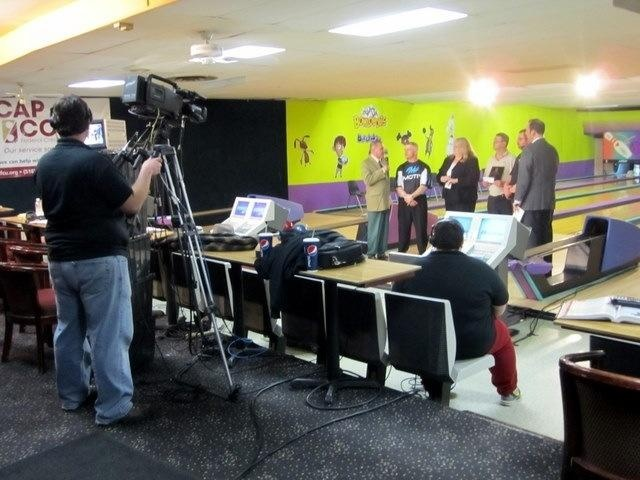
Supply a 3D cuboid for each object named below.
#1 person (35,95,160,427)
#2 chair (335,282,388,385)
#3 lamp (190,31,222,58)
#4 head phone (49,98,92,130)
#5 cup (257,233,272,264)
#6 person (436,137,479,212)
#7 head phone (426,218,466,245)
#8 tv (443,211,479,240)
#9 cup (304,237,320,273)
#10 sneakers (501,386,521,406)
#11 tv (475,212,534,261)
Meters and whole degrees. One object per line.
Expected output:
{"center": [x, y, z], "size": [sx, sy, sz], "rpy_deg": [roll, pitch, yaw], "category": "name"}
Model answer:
{"center": [-1.345, 0.134, 2.871], "size": [0.660, 1.938, 0.404], "rpy_deg": [4, 13, 20], "category": "person"}
{"center": [0.289, 0.673, 3.284], "size": [0.347, 0.742, 0.235], "rpy_deg": [1, 12, 9], "category": "chair"}
{"center": [-0.876, -1.478, 3.649], "size": [0.171, 0.179, 0.178], "rpy_deg": [-1, 7, -5], "category": "lamp"}
{"center": [-1.451, -0.716, 2.817], "size": [0.225, 0.244, 0.251], "rpy_deg": [-9, 11, -37], "category": "head phone"}
{"center": [-0.422, 0.047, 3.745], "size": [0.171, 0.268, 0.178], "rpy_deg": [0, -5, 0], "category": "cup"}
{"center": [2.065, -0.969, 7.132], "size": [0.533, 1.082, 0.281], "rpy_deg": [3, 12, 15], "category": "person"}
{"center": [0.894, -0.005, 3.363], "size": [0.228, 0.295, 0.294], "rpy_deg": [2, 13, 22], "category": "head phone"}
{"center": [1.157, -0.110, 3.910], "size": [0.129, 0.242, 0.244], "rpy_deg": [8, -7, -39], "category": "tv"}
{"center": [-0.057, 0.089, 3.106], "size": [0.157, 0.237, 0.161], "rpy_deg": [-2, 1, 0], "category": "cup"}
{"center": [1.390, 1.165, 3.553], "size": [0.172, 0.130, 0.076], "rpy_deg": [-13, 3, -34], "category": "sneakers"}
{"center": [1.674, 0.013, 4.347], "size": [0.428, 0.441, 0.450], "rpy_deg": [10, -29, 32], "category": "tv"}
